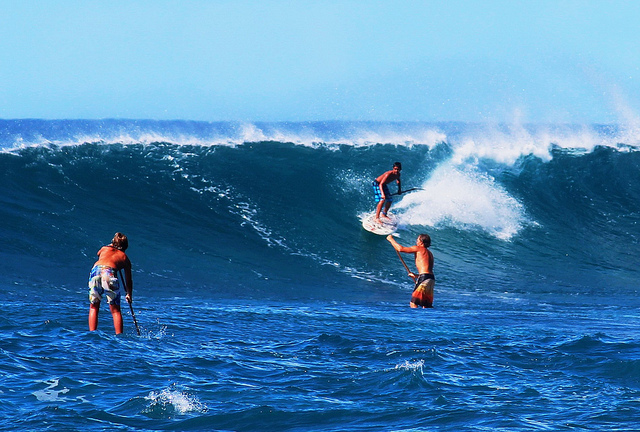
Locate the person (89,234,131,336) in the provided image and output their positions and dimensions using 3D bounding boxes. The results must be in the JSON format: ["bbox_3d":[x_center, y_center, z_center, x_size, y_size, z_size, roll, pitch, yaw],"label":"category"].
[{"bbox_3d":[-3.999,1.294,16.065,0.758,1.918,0.458,2,-11,-8],"label":"person"}]
